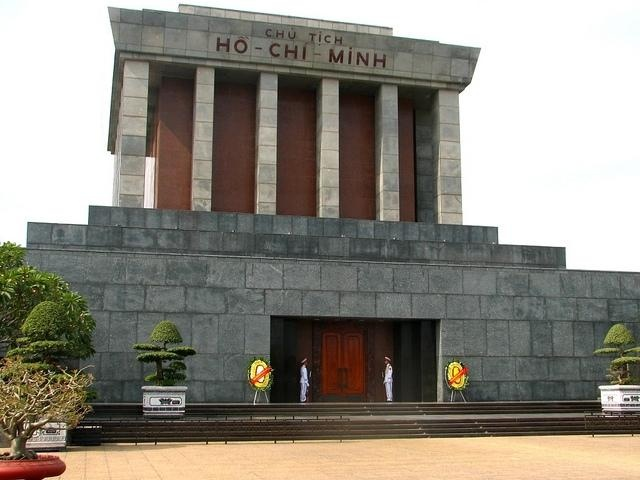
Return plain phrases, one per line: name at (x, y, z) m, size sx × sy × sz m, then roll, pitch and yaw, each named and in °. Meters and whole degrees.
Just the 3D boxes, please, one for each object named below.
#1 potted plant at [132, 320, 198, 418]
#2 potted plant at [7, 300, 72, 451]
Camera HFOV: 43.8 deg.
potted plant at (-4.190, 3.372, 20.716) m, size 1.694 × 2.398 × 1.497 m, roll 4°, pitch -5°, yaw -36°
potted plant at (-6.564, 2.573, 19.040) m, size 1.689 × 2.881 × 2.055 m, roll 2°, pitch -3°, yaw -10°
